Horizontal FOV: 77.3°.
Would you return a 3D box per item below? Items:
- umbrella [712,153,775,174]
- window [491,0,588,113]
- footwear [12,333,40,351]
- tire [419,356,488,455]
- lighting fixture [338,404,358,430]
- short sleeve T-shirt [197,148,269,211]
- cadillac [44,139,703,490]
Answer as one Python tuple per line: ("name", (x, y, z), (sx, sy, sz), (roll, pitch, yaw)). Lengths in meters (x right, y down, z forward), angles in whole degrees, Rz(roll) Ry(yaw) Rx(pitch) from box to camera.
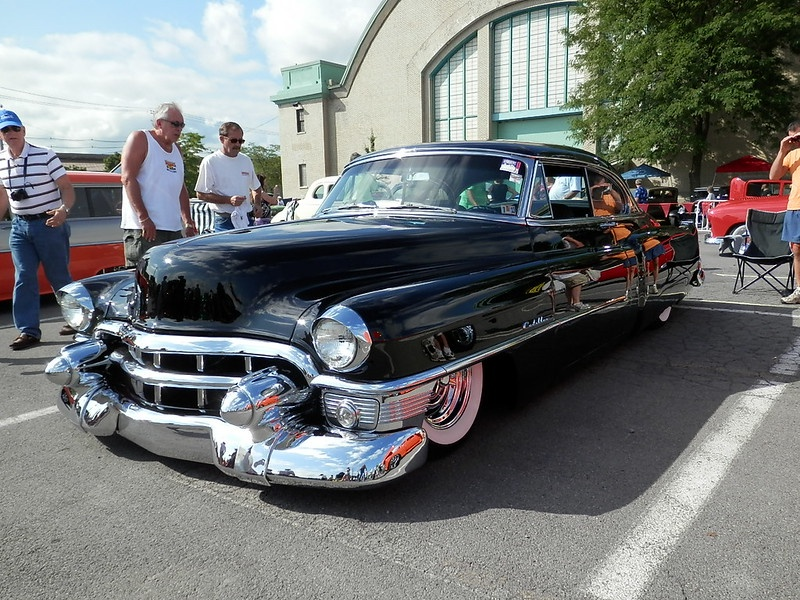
("umbrella", (14.635, -5.734, 21.457), (1.754, 0.654, 1.587), (-3, 3, -4))
("window", (7.379, -13.122, 27.490), (4.283, 5.352, 0.712), (4, 17, 36))
("footwear", (-3.700, 0.415, 4.977), (0.131, 0.107, 0.289), (-2, 0, 12))
("tire", (0.225, 0.572, 2.784), (0.498, 0.428, 0.125), (-19, 22, -39))
("lighting fixture", (-0.238, 0.516, 2.243), (0.130, 0.112, 0.034), (-6, 12, 26))
("short sleeve T-shirt", (-1.967, -1.384, 5.723), (0.825, 0.601, 0.366), (-11, 30, -39))
("cadillac", (-0.122, -0.150, 3.216), (3.438, 1.781, 1.858), (-14, 15, -40))
